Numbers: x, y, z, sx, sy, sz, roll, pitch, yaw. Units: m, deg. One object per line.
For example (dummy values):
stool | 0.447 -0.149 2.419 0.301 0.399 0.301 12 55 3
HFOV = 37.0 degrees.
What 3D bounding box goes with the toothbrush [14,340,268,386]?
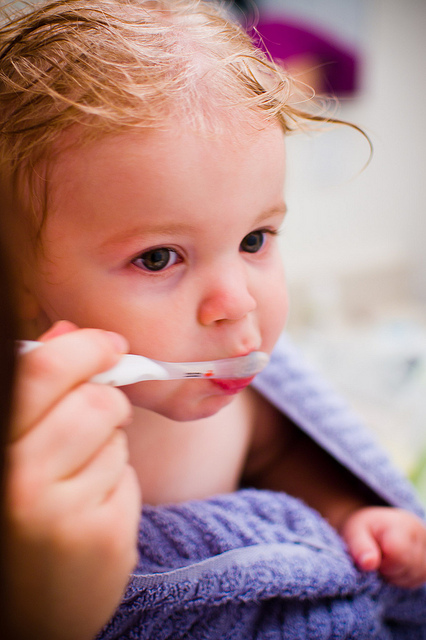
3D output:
toothbrush | -0.054 0.034 0.703 0.196 0.052 0.114 -12 24 -35
